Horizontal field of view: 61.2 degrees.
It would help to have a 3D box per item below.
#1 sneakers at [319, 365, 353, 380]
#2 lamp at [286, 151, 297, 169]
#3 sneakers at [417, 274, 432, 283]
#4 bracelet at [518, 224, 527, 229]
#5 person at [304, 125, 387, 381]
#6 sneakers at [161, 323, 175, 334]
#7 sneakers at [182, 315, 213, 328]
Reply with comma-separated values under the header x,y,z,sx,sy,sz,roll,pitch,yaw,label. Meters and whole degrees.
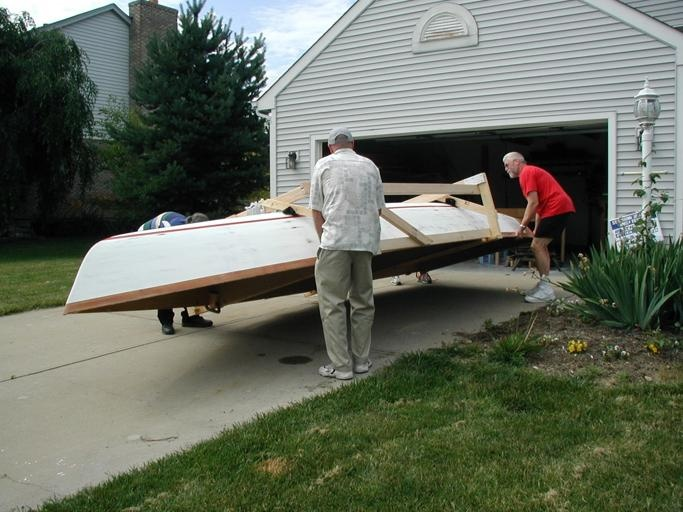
x,y,z,sx,sy,sz,roll,pitch,yaw,label
-0.049,0.970,4.820,0.285,0.097,0.102,5,5,34,sneakers
-1.013,-1.901,11.573,0.254,0.356,0.145,7,20,37,lamp
1.305,0.356,8.914,0.143,0.111,0.314,-6,4,-35,sneakers
2.198,-0.352,7.019,0.090,0.050,0.080,-2,10,6,bracelet
0.025,-0.015,4.810,0.531,2.037,0.816,1,17,21,person
-1.851,0.780,6.173,0.080,0.072,0.195,-1,4,-14,sneakers
-1.620,0.740,6.525,0.327,0.115,0.133,-2,0,-2,sneakers
